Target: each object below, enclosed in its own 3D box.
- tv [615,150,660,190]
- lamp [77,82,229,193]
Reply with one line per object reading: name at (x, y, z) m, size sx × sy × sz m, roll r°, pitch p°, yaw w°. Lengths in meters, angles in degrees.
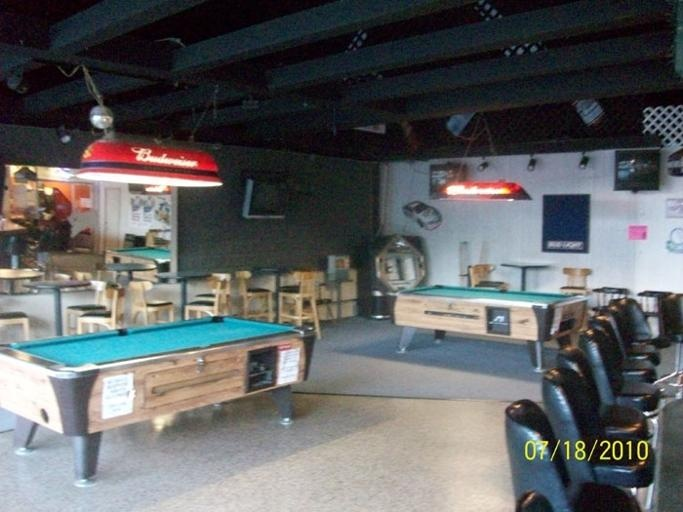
tv at (4.402, -1.328, 8.220) m, size 0.956 × 0.620 × 0.081 m, roll -4°, pitch 6°, yaw -22°
lamp at (-1.640, -0.947, 4.693) m, size 1.180 × 0.445 × 0.571 m, roll -3°, pitch 15°, yaw -44°
